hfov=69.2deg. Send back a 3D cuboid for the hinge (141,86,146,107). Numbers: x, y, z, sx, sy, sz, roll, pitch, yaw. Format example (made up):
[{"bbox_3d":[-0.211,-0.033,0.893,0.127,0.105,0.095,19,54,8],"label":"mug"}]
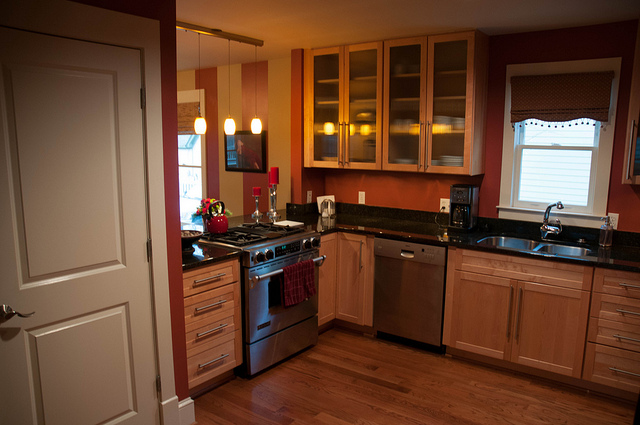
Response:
[{"bbox_3d":[-1.256,-0.828,3.284,0.024,0.135,0.014,-4,10,-20],"label":"hinge"}]

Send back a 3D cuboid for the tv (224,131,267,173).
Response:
[{"bbox_3d":[-1.021,-0.821,6.180,0.051,0.548,0.667,5,8,43],"label":"tv"}]

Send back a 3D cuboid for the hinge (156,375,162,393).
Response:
[{"bbox_3d":[-1.220,1.298,3.497,0.040,0.130,0.010,-2,9,-7],"label":"hinge"}]

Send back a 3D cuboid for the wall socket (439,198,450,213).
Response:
[{"bbox_3d":[1.359,-0.083,5.041,0.142,0.192,0.020,9,15,40],"label":"wall socket"}]

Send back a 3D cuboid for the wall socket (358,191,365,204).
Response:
[{"bbox_3d":[0.494,-0.187,5.571,0.083,0.154,0.020,6,12,38],"label":"wall socket"}]

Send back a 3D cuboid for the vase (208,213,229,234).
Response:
[{"bbox_3d":[-0.965,0.106,4.402,0.180,0.169,0.179,0,3,5],"label":"vase"}]

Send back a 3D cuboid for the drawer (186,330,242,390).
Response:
[{"bbox_3d":[-1.041,1.236,4.067,0.356,0.394,0.664,4,10,42],"label":"drawer"}]

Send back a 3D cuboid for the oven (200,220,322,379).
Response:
[{"bbox_3d":[-0.590,0.787,4.647,0.955,1.257,0.999,6,10,36],"label":"oven"}]

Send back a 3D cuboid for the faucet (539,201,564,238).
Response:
[{"bbox_3d":[2.255,0.059,4.527,0.184,0.358,0.242,3,10,23],"label":"faucet"}]

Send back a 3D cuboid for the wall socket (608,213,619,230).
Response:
[{"bbox_3d":[2.720,0.083,4.296,0.087,0.152,0.124,5,10,32],"label":"wall socket"}]

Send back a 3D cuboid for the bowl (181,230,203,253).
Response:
[{"bbox_3d":[-1.174,0.245,4.055,0.186,0.125,0.187,1,4,0],"label":"bowl"}]

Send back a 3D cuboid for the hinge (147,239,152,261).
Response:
[{"bbox_3d":[-1.251,0.269,3.387,0.037,0.152,0.019,-3,9,-12],"label":"hinge"}]
